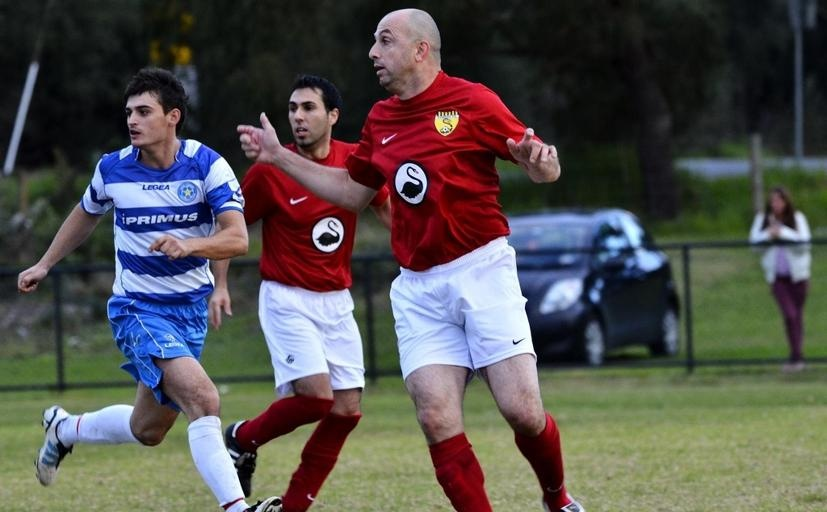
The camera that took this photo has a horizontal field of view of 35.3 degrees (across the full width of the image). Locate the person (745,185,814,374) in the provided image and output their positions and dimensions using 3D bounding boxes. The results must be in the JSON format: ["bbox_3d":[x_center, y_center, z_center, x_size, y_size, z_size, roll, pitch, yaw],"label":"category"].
[{"bbox_3d":[3.577,0.265,12.581,0.516,1.274,0.337,-3,1,14],"label":"person"}]

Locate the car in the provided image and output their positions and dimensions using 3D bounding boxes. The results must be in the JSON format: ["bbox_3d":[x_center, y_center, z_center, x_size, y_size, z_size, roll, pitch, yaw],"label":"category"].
[{"bbox_3d":[2.199,0.316,16.221,1.377,1.215,2.327,-4,-6,25],"label":"car"}]
